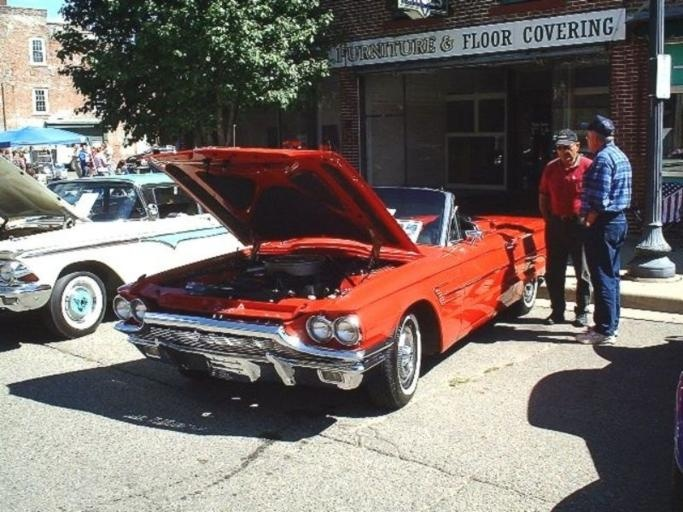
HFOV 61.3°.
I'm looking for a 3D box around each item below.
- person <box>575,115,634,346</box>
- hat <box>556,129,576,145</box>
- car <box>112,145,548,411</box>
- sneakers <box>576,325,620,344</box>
[{"bbox_3d":[2.870,-0.267,6.340,0.474,2.457,0.589,3,14,22],"label":"person"},{"bbox_3d":[2.625,-1.414,6.795,0.243,0.153,0.351,-4,4,35],"label":"hat"},{"bbox_3d":[0.324,0.011,5.784,2.326,1.341,3.923,3,7,38],"label":"car"},{"bbox_3d":[2.819,0.883,6.459,0.518,0.185,0.172,2,8,18],"label":"sneakers"}]
